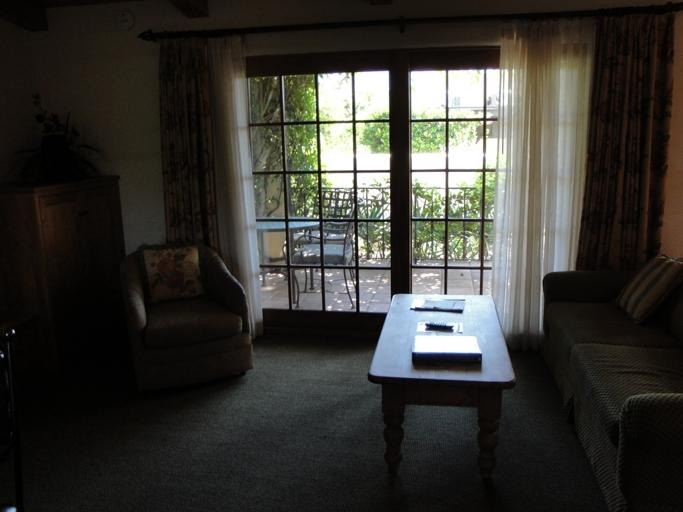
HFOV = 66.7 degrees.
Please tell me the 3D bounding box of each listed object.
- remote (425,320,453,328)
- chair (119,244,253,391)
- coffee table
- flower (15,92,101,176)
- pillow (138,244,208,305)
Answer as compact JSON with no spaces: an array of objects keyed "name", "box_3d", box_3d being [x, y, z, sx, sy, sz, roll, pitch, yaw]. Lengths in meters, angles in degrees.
[{"name":"remote","box_3d":[0.655,0.463,3.503,0.106,0.024,0.067,3,11,0]},{"name":"chair","box_3d":[-1.286,0.456,4.265,0.901,1.001,0.874,-7,14,-25]},{"name":"coffee table","box_3d":[0.638,1.059,3.346,0.765,0.665,1.419,0,17,6]},{"name":"flower","box_3d":[-2.474,-1.061,4.533,0.657,0.755,0.952,-9,15,-32]},{"name":"pillow","box_3d":[-1.478,0.173,4.552,0.443,0.473,0.133,-2,-8,-21]}]
